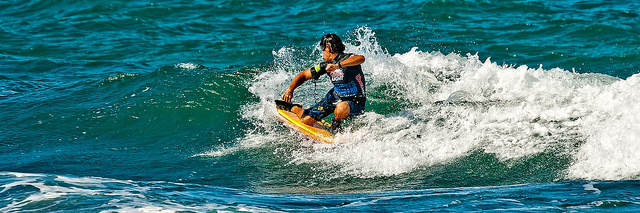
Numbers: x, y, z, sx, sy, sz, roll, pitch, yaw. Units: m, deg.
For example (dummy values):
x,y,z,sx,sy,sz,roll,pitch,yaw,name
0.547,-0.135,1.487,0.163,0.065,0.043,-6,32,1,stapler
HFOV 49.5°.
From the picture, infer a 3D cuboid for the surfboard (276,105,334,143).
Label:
x,y,z,sx,sy,sz,roll,pitch,yaw,name
-0.588,0.874,33.791,3.836,0.469,1.030,20,29,14,surfboard
